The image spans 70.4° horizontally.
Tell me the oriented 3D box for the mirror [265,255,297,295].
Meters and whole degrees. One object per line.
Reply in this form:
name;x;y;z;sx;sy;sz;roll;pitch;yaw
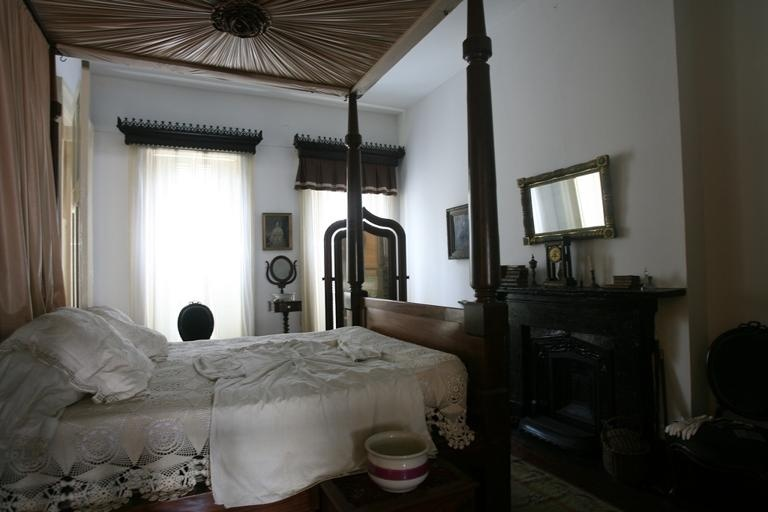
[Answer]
mirror;-1.335;0.234;6.917;0.491;0.579;0.112;0;-8;-17

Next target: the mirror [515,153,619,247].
mirror;1.739;-0.527;5.068;0.105;0.718;0.865;-1;-3;-37

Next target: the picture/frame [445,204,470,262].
picture/frame;0.890;-0.288;6.555;0.070;0.713;0.693;-2;-1;-17

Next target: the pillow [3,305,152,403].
pillow;-1.779;0.580;3.196;0.737;0.526;0.348;-2;1;-8

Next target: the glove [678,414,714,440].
glove;2.172;1.195;3.807;0.351;0.096;0.121;-3;2;-37

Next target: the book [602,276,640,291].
book;1.951;0.209;4.475;0.286;0.099;0.141;-1;2;26

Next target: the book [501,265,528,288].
book;1.306;0.209;5.332;0.319;0.261;0.227;3;-5;31

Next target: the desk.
desk;1.653;0.956;4.772;0.571;1.357;1.514;-2;3;-41
